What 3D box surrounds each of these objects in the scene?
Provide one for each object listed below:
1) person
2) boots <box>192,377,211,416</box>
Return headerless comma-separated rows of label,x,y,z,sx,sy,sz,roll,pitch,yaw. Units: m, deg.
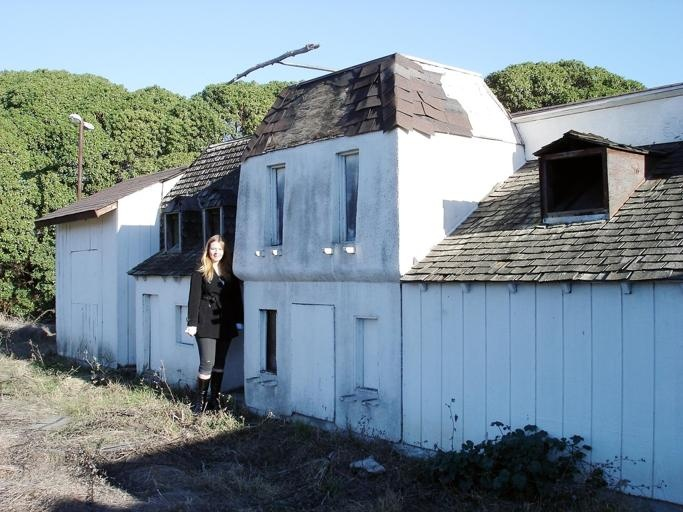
person,-2.424,1.250,14.948,0.495,3.214,1.244,4,8,35
boots,-2.705,2.604,15.137,0.331,0.731,1.214,-1,7,-11
